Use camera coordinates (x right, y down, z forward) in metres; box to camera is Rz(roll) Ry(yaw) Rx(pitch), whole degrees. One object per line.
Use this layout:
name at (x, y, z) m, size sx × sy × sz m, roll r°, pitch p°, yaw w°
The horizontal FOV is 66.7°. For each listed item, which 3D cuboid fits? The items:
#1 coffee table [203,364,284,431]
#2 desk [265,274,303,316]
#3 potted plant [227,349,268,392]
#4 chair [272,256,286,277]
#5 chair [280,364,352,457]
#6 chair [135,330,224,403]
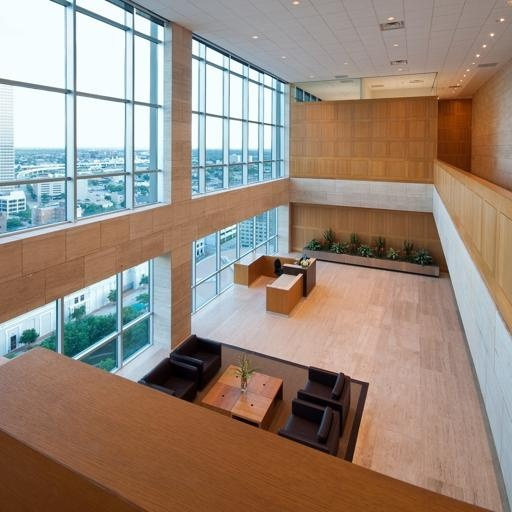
coffee table at (-0.292, 2.978, 8.235) m, size 1.422 × 0.552 × 1.695 m, roll 5°, pitch 16°, yaw 19°
desk at (1.002, 1.262, 13.534) m, size 0.829 × 0.963 × 1.697 m, roll 7°, pitch 17°, yaw 25°
potted plant at (-0.316, 2.521, 8.584) m, size 0.540 × 0.833 × 0.537 m, roll 2°, pitch 3°, yaw 14°
chair at (1.020, 0.429, 16.723) m, size 0.586 × 0.932 × 0.696 m, roll 6°, pitch 10°, yaw 38°
chair at (1.120, 2.834, 7.395) m, size 1.083 × 0.983 × 2.242 m, roll 9°, pitch 26°, yaw 22°
chair at (-1.608, 2.607, 8.811) m, size 0.846 × 0.891 × 2.319 m, roll 5°, pitch 16°, yaw 20°
